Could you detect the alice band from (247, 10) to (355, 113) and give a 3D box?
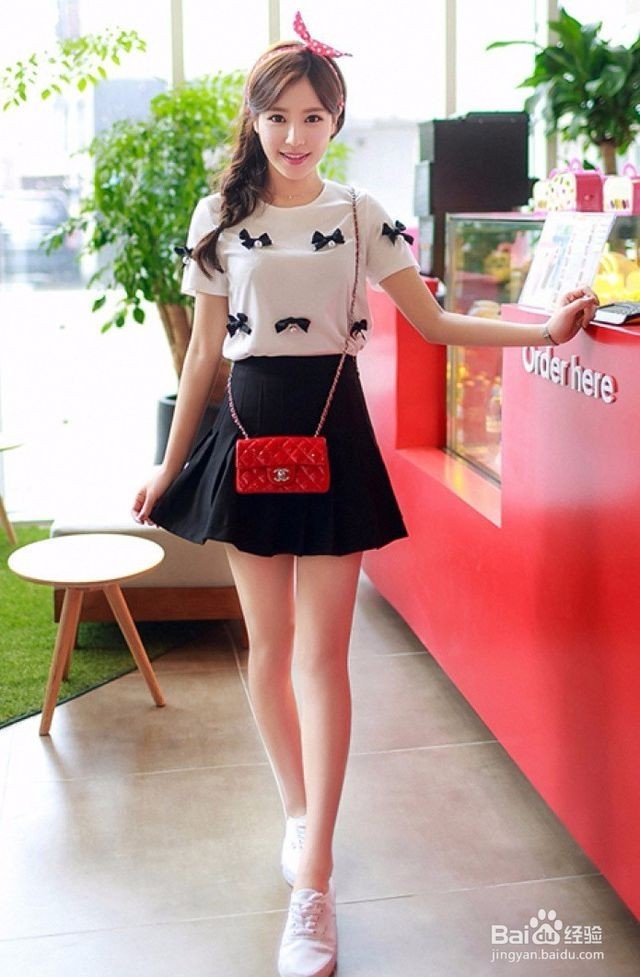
[{"bbox_3d":[-0.038,-0.651,1.258,0.159,0.121,0.097,-2,7,-5],"label":"alice band"}]

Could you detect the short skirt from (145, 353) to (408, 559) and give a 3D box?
[{"bbox_3d":[-0.055,-0.018,1.466,0.526,0.469,0.309,3,5,-6],"label":"short skirt"}]
